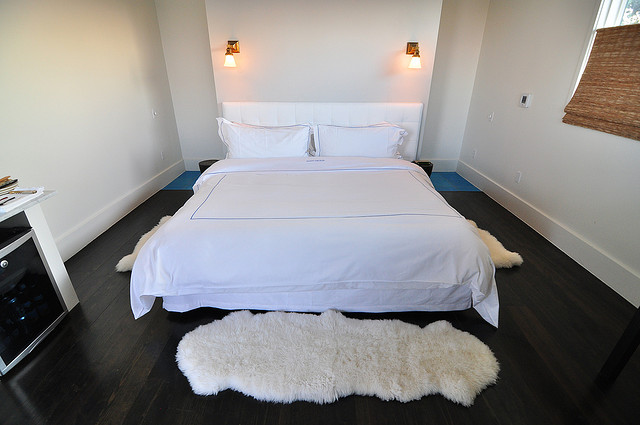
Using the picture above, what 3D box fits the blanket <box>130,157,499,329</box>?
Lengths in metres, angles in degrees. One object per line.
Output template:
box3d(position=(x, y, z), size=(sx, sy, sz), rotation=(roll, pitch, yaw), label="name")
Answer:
box3d(position=(-0.066, 0.274, 3.400), size=(2.916, 0.894, 1.283), rotation=(1, 28, -1), label="blanket")

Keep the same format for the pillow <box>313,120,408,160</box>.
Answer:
box3d(position=(0.468, -0.873, 4.344), size=(0.675, 0.205, 0.617), rotation=(-2, 63, 0), label="pillow")

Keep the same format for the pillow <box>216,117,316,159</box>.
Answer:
box3d(position=(-0.471, -0.859, 4.369), size=(0.743, 0.470, 0.149), rotation=(-3, -2, 1), label="pillow")

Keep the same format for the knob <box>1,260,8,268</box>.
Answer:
box3d(position=(-2.373, 0.380, 2.688), size=(0.040, 0.011, 0.040), rotation=(-1, 65, 30), label="knob")
